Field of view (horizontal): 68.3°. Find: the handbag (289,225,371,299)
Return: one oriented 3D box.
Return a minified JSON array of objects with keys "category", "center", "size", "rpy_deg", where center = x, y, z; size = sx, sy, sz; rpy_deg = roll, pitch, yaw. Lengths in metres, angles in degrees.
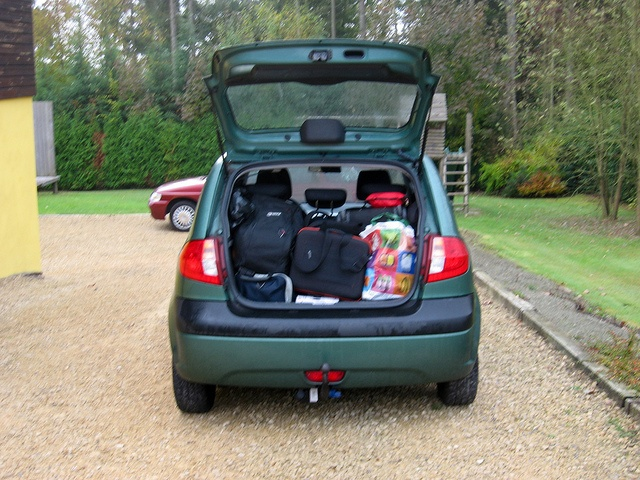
[{"category":"handbag","center":[0.056,0.126,3.435],"size":[0.541,0.579,0.337],"rpy_deg":[8,22,-6]}]

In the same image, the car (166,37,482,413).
[{"category":"car","center":[0.028,-0.574,4.586],"size":[2.148,2.579,4.130],"rpy_deg":[-2,17,-1]}]

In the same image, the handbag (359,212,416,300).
[{"category":"handbag","center":[0.515,0.189,3.479],"size":[0.346,0.686,0.440],"rpy_deg":[9,-15,0]}]
